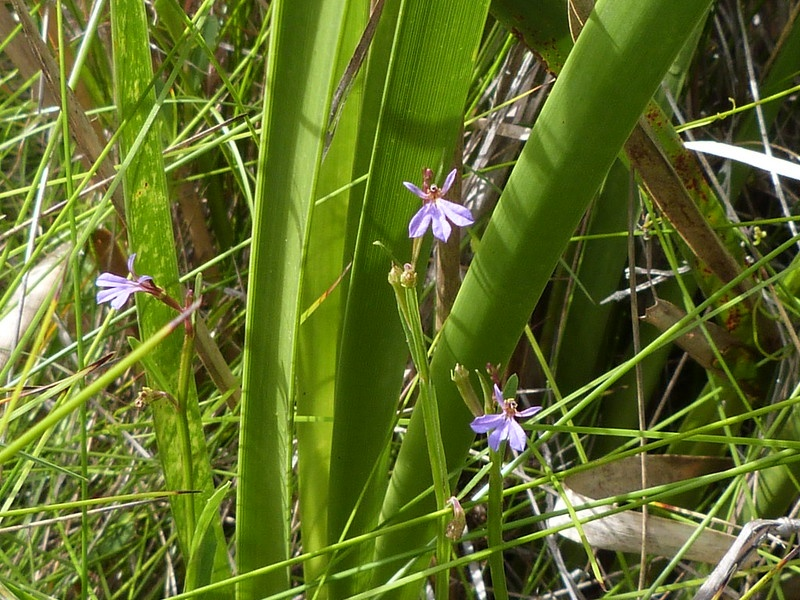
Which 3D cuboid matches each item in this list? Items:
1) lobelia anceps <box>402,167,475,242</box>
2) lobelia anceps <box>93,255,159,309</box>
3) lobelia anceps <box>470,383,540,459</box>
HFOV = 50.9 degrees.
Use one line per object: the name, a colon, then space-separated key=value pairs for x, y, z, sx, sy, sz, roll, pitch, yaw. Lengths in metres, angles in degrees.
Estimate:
lobelia anceps: x=0.040 y=-0.142 z=1.053 sx=0.083 sy=0.047 sz=0.102 roll=-13 pitch=1 yaw=-1
lobelia anceps: x=-0.373 y=-0.019 z=1.142 sx=0.069 sy=0.099 sz=0.034 roll=3 pitch=-5 yaw=8
lobelia anceps: x=0.135 y=0.138 z=1.027 sx=0.085 sy=0.051 sz=0.097 roll=-16 pitch=-2 yaw=17
